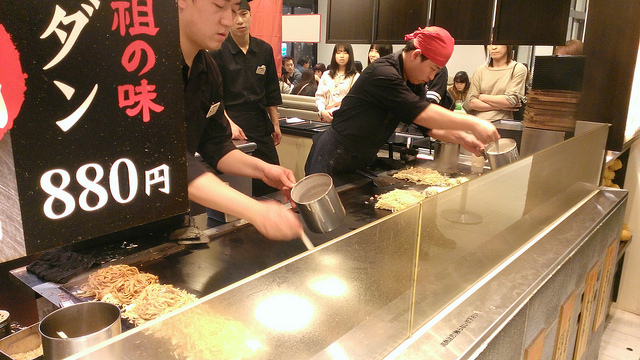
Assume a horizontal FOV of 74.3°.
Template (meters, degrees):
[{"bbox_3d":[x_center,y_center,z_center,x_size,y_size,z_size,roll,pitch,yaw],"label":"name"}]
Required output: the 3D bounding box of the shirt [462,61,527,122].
[{"bbox_3d":[1.992,-1.007,4.789,0.611,0.611,0.378,8,22,21],"label":"shirt"}]

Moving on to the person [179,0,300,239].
[{"bbox_3d":[-0.345,-0.221,1.873,0.496,1.022,1.047,-5,20,-14],"label":"person"}]

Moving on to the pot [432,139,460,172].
[{"bbox_3d":[0.984,-0.156,3.191,0.233,0.218,0.194,-3,-13,38],"label":"pot"}]

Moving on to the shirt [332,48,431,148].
[{"bbox_3d":[0.415,-0.511,2.788,0.671,0.632,0.257,10,23,26],"label":"shirt"}]

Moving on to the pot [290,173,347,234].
[{"bbox_3d":[-0.016,0.136,1.929,0.209,0.294,0.209,0,20,0],"label":"pot"}]

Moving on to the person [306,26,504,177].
[{"bbox_3d":[0.509,-0.476,2.817,1.283,1.009,0.457,7,21,18],"label":"person"}]

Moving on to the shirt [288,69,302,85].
[{"bbox_3d":[-0.506,-2.085,8.601,0.246,0.270,0.524,-1,19,-3],"label":"shirt"}]

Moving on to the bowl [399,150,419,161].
[{"bbox_3d":[0.694,-0.193,3.204,0.097,0.041,0.094,0,10,0],"label":"bowl"}]

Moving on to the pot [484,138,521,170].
[{"bbox_3d":[1.077,-0.156,2.508,0.179,0.161,0.183,0,19,0],"label":"pot"}]

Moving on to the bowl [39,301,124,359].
[{"bbox_3d":[-0.733,0.460,1.288,0.215,0.104,0.188,0,19,0],"label":"bowl"}]
